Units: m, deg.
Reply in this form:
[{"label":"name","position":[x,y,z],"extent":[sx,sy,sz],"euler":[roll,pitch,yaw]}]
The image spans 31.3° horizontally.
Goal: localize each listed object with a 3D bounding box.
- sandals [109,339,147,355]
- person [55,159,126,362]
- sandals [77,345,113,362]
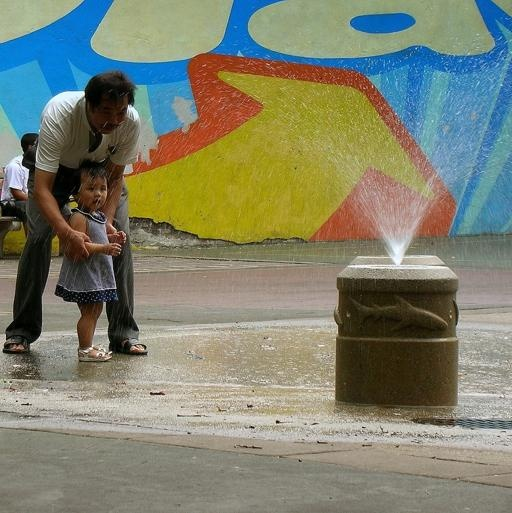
[{"label":"sandals","position":[-0.778,0.547,5.557],"extent":[0.094,0.068,0.247],"euler":[-1,-1,-41]},{"label":"person","position":[-0.942,0.053,5.267],"extent":[0.410,1.149,0.500],"euler":[-2,12,-18]},{"label":"sandals","position":[-0.919,0.565,5.209],"extent":[0.187,0.096,0.189],"euler":[-1,11,-12]}]
